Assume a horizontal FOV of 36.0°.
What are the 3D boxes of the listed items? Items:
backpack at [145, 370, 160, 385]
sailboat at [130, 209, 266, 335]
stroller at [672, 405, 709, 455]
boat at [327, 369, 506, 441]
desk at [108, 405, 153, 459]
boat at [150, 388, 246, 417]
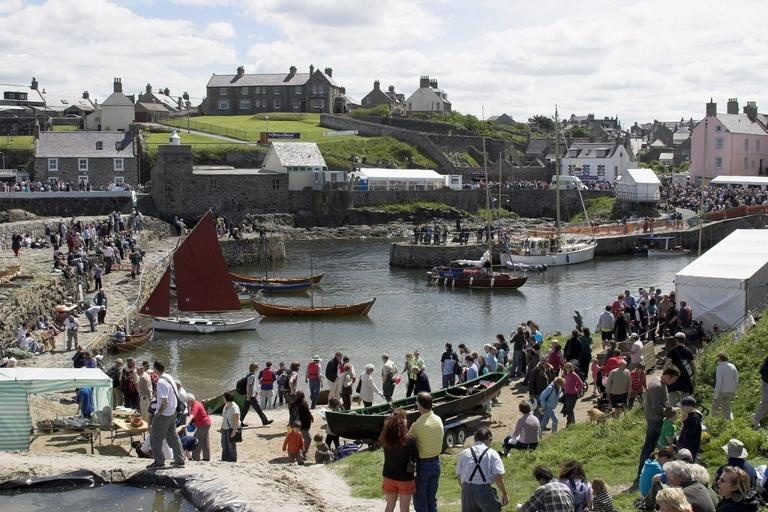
[{"bbox_3d":[-9.470,4.951,48.265,0.430,0.723,1.068,0,3,-9],"label":"backpack"},{"bbox_3d":[-10.418,1.815,65.382,7.295,7.398,5.772,-3,7,32],"label":"sailboat"},{"bbox_3d":[11.124,6.473,43.556,0.898,1.623,0.776,-2,4,-41],"label":"stroller"},{"bbox_3d":[1.406,6.124,48.125,8.500,1.817,1.661,-10,4,-33],"label":"boat"},{"bbox_3d":[-10.270,7.032,47.439,1.234,1.561,2.160,-1,4,-34],"label":"desk"},{"bbox_3d":[-7.407,6.709,51.936,3.344,1.394,3.392,-3,-1,-9],"label":"boat"}]
